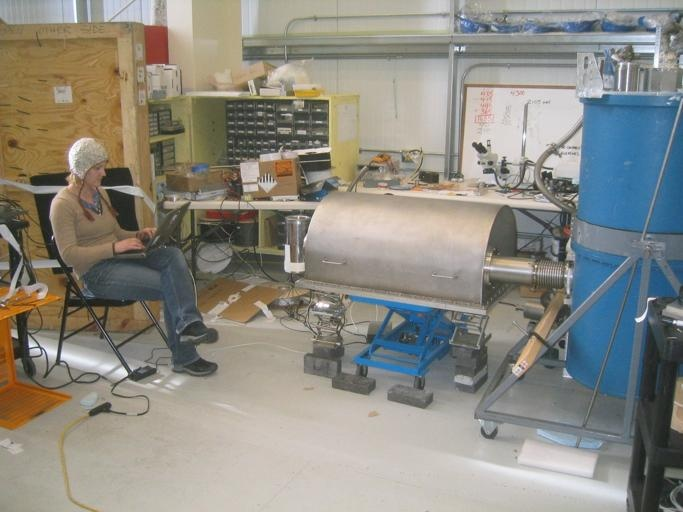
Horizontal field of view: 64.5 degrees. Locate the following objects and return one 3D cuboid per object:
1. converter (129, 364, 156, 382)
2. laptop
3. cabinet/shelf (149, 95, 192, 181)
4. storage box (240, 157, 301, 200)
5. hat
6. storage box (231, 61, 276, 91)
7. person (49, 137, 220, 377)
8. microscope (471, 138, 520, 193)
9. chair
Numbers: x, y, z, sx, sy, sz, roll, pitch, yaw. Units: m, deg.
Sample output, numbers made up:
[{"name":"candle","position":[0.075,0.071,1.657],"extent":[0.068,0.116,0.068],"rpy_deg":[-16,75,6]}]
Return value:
[{"name":"converter","position":[-1.296,0.758,3.531],"extent":[0.074,0.068,0.135],"rpy_deg":[9,12,35]},{"name":"laptop","position":[-1.175,-0.204,3.525],"extent":[0.409,0.390,0.450],"rpy_deg":[6,17,8]},{"name":"cabinet/shelf","position":[-1.592,-1.109,4.978],"extent":[0.305,0.739,0.884],"rpy_deg":[4,15,7]},{"name":"storage box","position":[-0.594,-0.656,4.549],"extent":[0.497,0.346,0.173],"rpy_deg":[-2,17,-4]},{"name":"hat","position":[-1.595,-0.599,3.401],"extent":[0.208,0.272,0.159],"rpy_deg":[-9,18,-26]},{"name":"storage box","position":[-0.891,-1.801,5.416],"extent":[0.418,0.258,0.206],"rpy_deg":[-2,16,-4]},{"name":"person","position":[-1.270,-0.009,3.719],"extent":[1.075,1.568,0.726],"rpy_deg":[1,6,9]},{"name":"microscope","position":[1.441,-0.832,5.024],"extent":[0.456,0.550,0.382],"rpy_deg":[20,24,40]},{"name":"chair","position":[-1.600,0.313,3.792],"extent":[0.785,0.993,0.651],"rpy_deg":[10,18,8]}]
